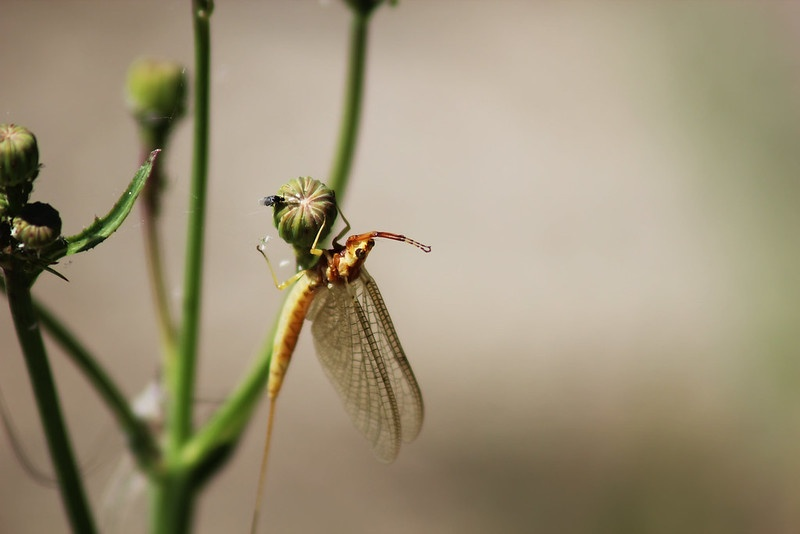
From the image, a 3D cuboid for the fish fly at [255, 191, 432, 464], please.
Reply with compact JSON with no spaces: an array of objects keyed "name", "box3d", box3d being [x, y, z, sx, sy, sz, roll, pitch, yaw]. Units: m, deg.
[{"name":"fish fly","box3d":[-0.140,0.115,1.340,0.140,0.350,0.327,-18,3,46]}]
